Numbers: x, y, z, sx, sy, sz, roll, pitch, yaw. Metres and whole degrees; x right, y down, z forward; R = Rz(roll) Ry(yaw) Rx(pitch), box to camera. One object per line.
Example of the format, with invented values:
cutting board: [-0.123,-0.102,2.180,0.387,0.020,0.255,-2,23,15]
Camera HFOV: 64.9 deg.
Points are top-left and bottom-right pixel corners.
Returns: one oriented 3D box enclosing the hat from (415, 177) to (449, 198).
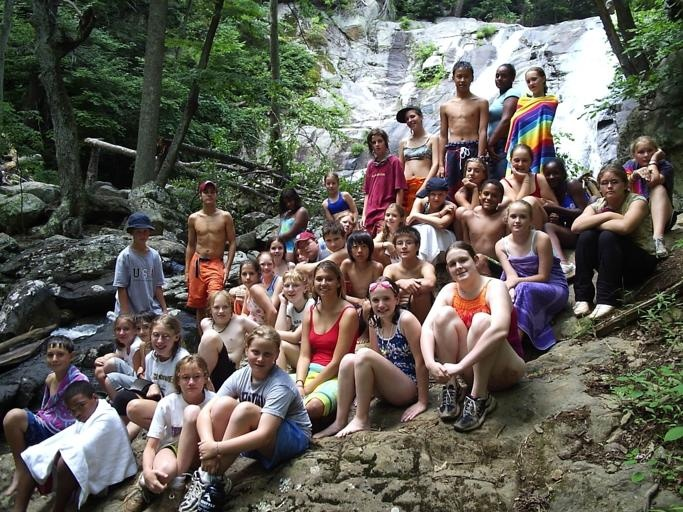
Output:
hat: [1.060,-0.764,6.366,0.316,0.169,0.239,-11,-3,44]

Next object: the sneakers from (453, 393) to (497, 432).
sneakers: [1.046,1.212,4.237,0.436,0.178,0.157,-30,21,-32]

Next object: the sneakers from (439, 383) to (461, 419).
sneakers: [0.859,1.166,4.278,0.120,0.144,0.312,-4,12,19]

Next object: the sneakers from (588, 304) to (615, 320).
sneakers: [2.411,0.520,4.967,0.207,0.132,0.133,0,6,25]

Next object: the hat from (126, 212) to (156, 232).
hat: [-2.454,-0.426,6.418,0.313,0.169,0.264,-13,-9,32]
